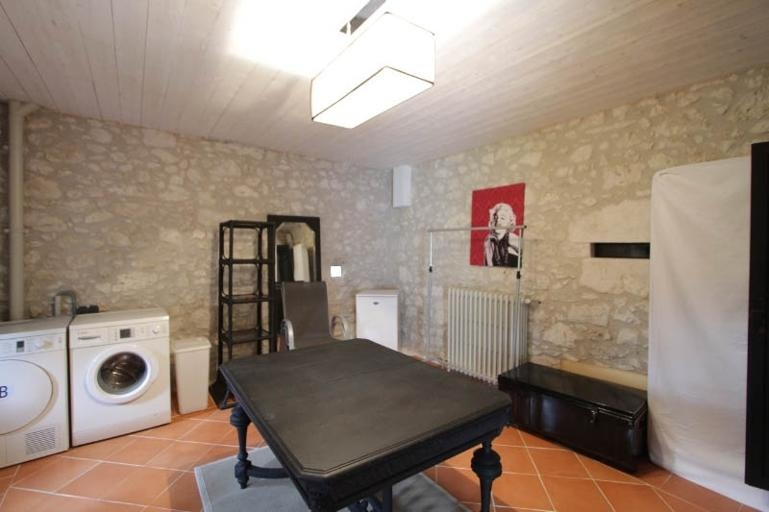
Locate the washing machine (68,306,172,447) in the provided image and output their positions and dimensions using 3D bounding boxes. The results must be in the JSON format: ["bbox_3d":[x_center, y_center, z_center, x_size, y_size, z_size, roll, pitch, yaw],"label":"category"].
[{"bbox_3d":[-2.775,1.174,5.161,0.962,1.162,0.896,-5,7,-43],"label":"washing machine"}]

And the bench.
[{"bbox_3d":[1.999,1.567,4.990,0.785,0.581,1.353,-8,8,-39],"label":"bench"}]

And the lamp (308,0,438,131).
[{"bbox_3d":[-0.122,-1.436,3.882,0.924,0.827,0.463,-2,0,44],"label":"lamp"}]

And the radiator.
[{"bbox_3d":[1.228,0.905,5.610,0.258,1.072,1.227,1,1,-42],"label":"radiator"}]

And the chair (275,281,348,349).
[{"bbox_3d":[-0.862,0.654,5.545,0.736,0.806,0.773,1,-10,-24],"label":"chair"}]

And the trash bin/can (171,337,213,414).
[{"bbox_3d":[-2.093,1.298,5.382,0.364,0.850,0.274,-1,0,-24],"label":"trash bin/can"}]
